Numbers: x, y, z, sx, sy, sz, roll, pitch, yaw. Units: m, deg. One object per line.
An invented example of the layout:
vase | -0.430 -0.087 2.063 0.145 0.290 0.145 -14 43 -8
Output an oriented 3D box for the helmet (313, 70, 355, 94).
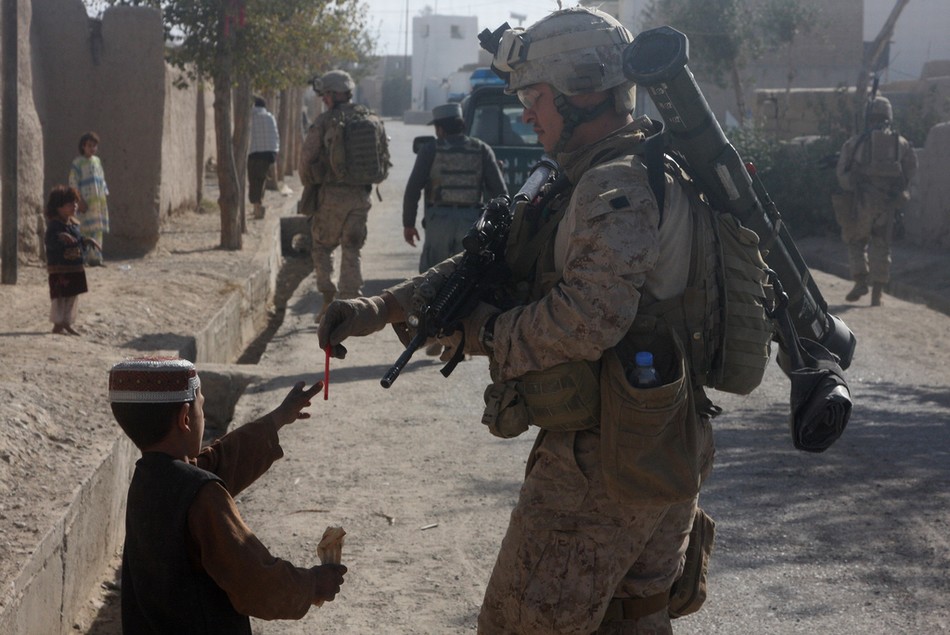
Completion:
helmet | -1.389 -2.313 11.636 0.350 0.205 0.249 13 14 43

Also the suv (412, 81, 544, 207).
suv | 0.187 -2.298 15.473 1.236 1.431 2.202 -1 19 -4

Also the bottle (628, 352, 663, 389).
bottle | 0.850 0.260 6.077 0.233 0.261 0.142 1 3 7

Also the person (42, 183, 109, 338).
person | -3.407 -0.494 10.007 0.408 1.179 0.667 -1 10 -21

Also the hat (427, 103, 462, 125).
hat | -0.291 -1.892 10.833 0.241 0.114 0.209 0 5 24

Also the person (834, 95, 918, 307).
person | 4.505 -1.345 13.416 0.810 2.311 0.769 8 11 30

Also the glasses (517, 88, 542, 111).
glasses | 0.304 -1.192 6.404 0.080 0.120 0.035 7 17 22
